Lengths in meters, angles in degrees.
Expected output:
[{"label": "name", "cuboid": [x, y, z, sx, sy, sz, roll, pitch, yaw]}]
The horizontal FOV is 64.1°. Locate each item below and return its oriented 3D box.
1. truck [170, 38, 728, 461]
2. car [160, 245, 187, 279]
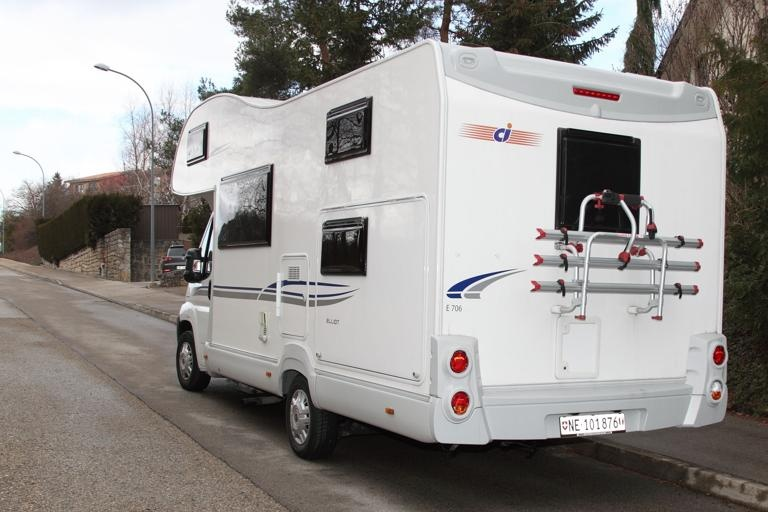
[{"label": "truck", "cuboid": [-0.081, 0.314, 9.290, 4.379, 4.391, 8.214, 6, -4, -38]}, {"label": "car", "cuboid": [-9.478, 0.281, 27.528, 1.364, 1.252, 3.033, 2, 7, -15]}]
